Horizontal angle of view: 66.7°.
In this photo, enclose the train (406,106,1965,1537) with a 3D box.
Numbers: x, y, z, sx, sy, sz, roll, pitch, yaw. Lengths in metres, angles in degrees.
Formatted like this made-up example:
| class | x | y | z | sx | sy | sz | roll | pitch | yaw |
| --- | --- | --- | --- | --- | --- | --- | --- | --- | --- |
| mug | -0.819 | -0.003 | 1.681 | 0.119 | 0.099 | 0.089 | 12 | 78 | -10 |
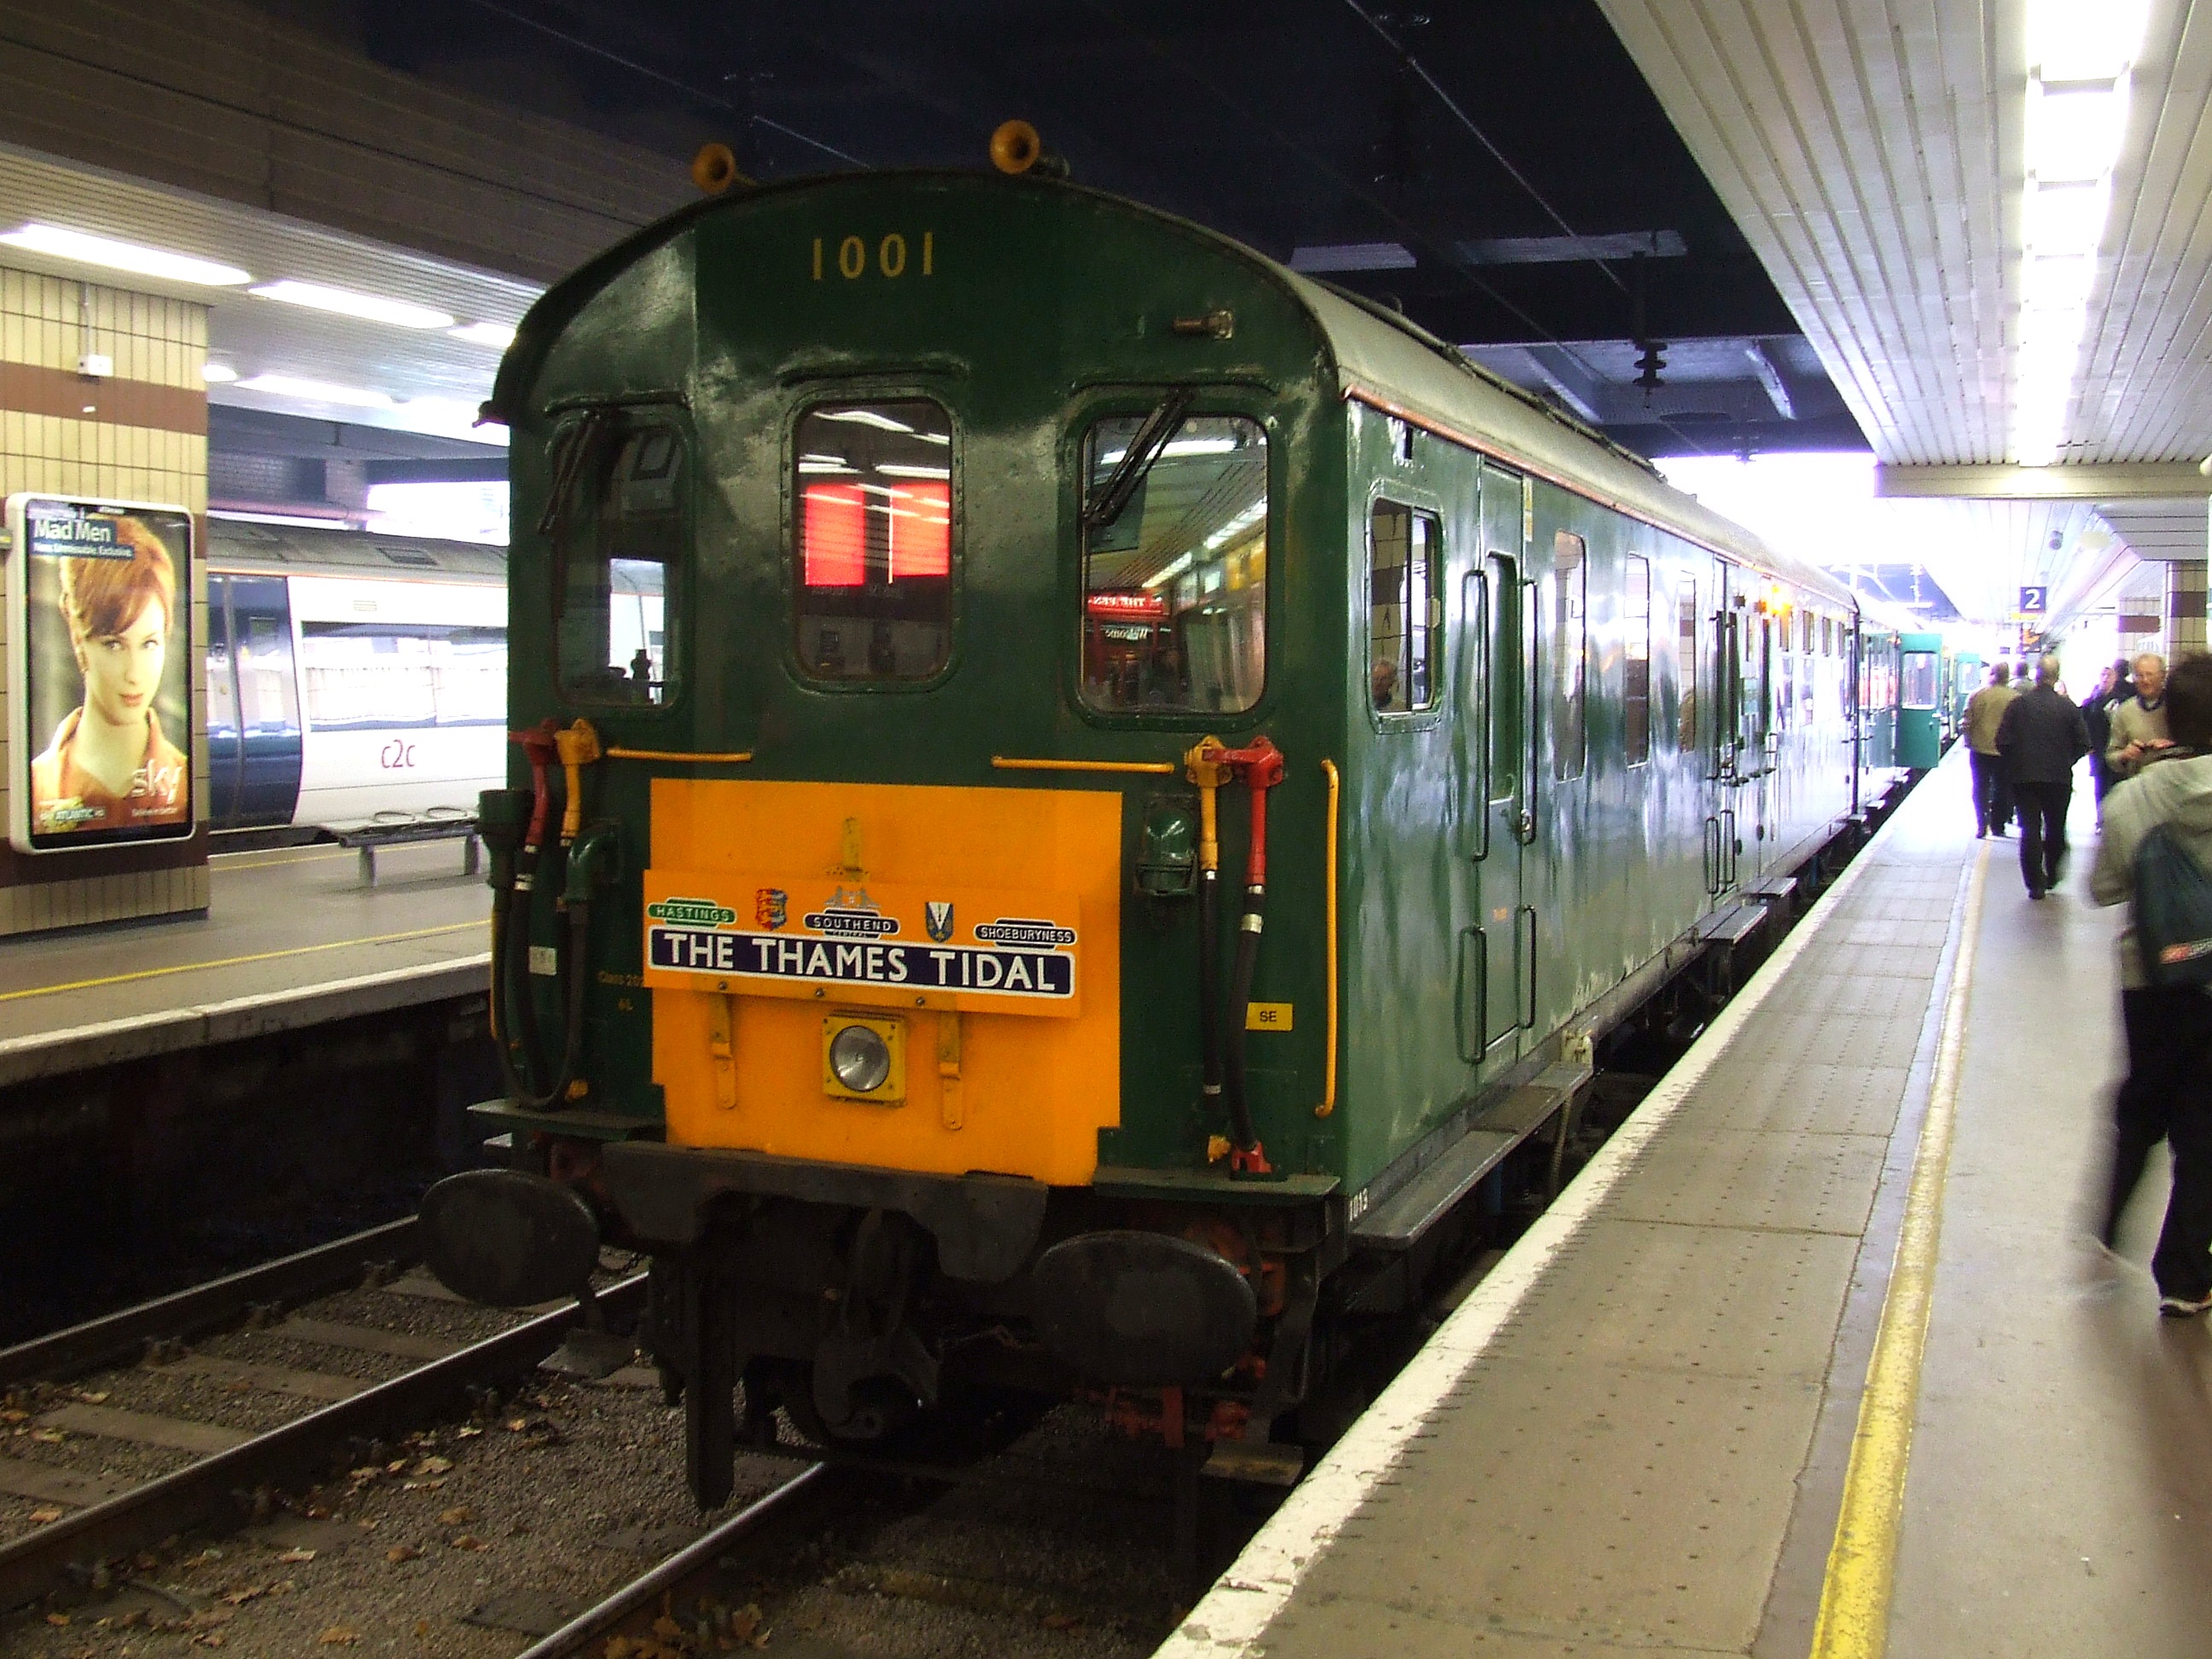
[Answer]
| class | x | y | z | sx | sy | sz | roll | pitch | yaw |
| --- | --- | --- | --- | --- | --- | --- | --- | --- | --- |
| train | 0.341 | 0.060 | 6.693 | 5.488 | 5.014 | 2.631 | -4 | 8 | -39 |
